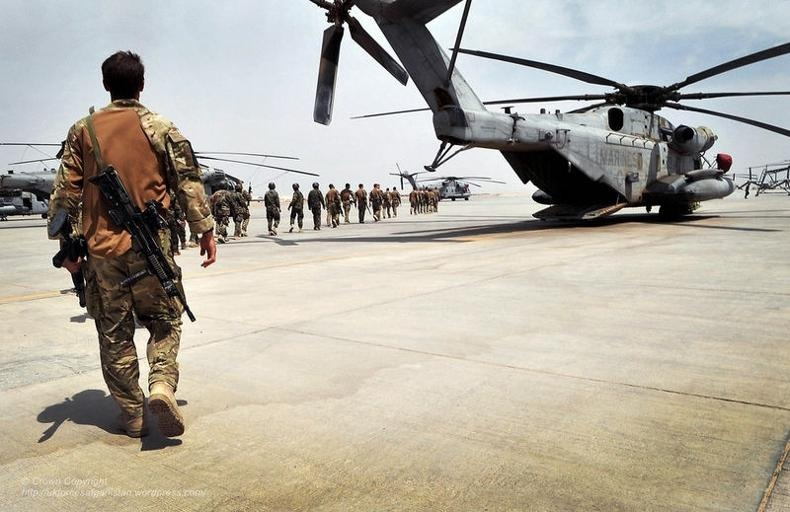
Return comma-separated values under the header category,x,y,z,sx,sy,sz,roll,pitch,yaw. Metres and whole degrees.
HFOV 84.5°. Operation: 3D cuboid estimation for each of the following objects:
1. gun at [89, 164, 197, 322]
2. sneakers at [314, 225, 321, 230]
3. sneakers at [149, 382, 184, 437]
category,x,y,z,sx,sy,sz,roll,pitch,yaw
gun,-1.762,-0.070,3.046,0.511,1.109,0.298,-6,12,-16
sneakers,-3.597,-1.296,19.853,0.237,0.140,0.295,-1,2,5
sneakers,-1.488,1.042,2.841,0.170,0.415,0.230,-8,12,-27
